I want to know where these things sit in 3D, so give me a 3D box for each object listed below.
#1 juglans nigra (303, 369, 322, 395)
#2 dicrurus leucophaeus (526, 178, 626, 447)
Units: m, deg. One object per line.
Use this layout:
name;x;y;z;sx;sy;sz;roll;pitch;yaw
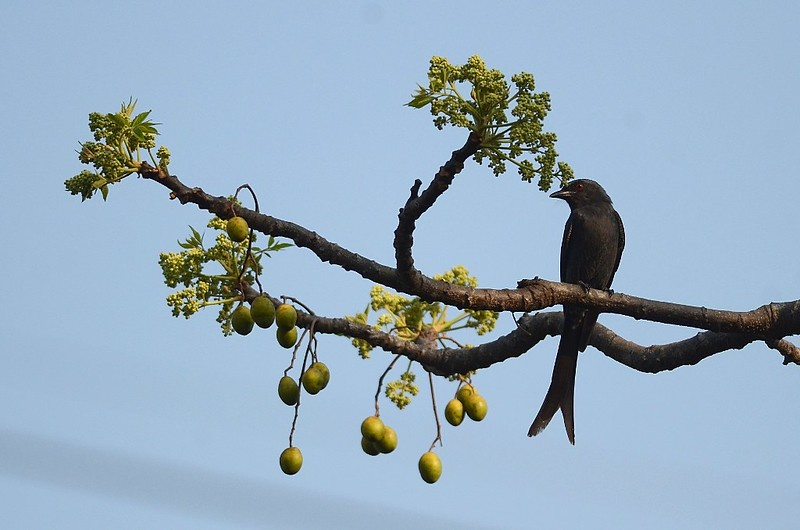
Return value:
juglans nigra;-0.924;1.254;14.397;0.209;0.295;0.178;9;-57;8
dicrurus leucophaeus;1.941;0.398;15.071;0.845;0.897;3.050;5;-90;-10
